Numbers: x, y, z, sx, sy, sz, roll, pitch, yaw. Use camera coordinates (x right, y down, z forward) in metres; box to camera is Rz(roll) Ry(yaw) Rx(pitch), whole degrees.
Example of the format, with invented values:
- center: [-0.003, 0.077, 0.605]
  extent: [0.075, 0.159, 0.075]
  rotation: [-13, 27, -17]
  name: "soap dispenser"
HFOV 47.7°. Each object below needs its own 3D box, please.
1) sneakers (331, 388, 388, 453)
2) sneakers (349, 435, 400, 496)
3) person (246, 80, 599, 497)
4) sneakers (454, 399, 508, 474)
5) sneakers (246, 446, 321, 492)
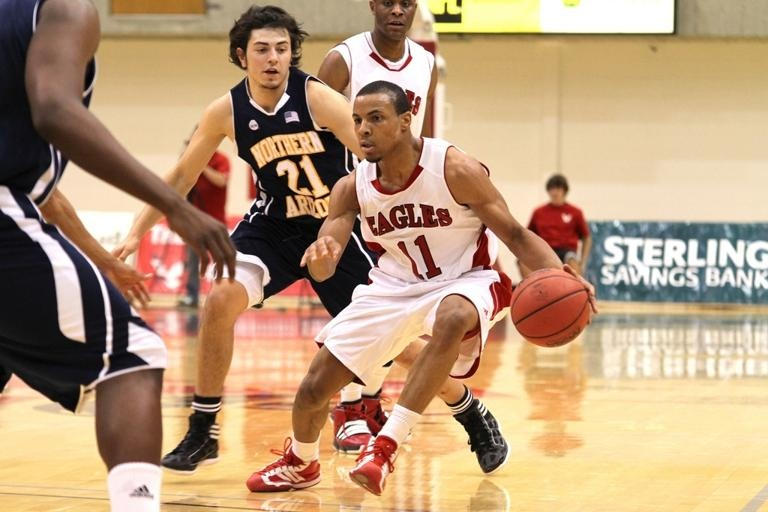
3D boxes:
- center: [-0.144, 0.847, 4.454]
  extent: [0.157, 0.286, 0.406]
  rotation: [3, -8, -14]
  name: "sneakers"
- center: [-0.026, 0.840, 3.506]
  extent: [0.123, 0.139, 0.323]
  rotation: [34, 10, 0]
  name: "sneakers"
- center: [0.064, 0.128, 3.786]
  extent: [1.129, 1.775, 0.662]
  rotation: [-3, 7, -22]
  name: "person"
- center: [0.443, 0.842, 4.042]
  extent: [0.136, 0.173, 0.400]
  rotation: [-42, 11, 11]
  name: "sneakers"
- center: [-0.426, 0.956, 3.907]
  extent: [0.390, 0.242, 0.139]
  rotation: [1, -3, -8]
  name: "sneakers"
